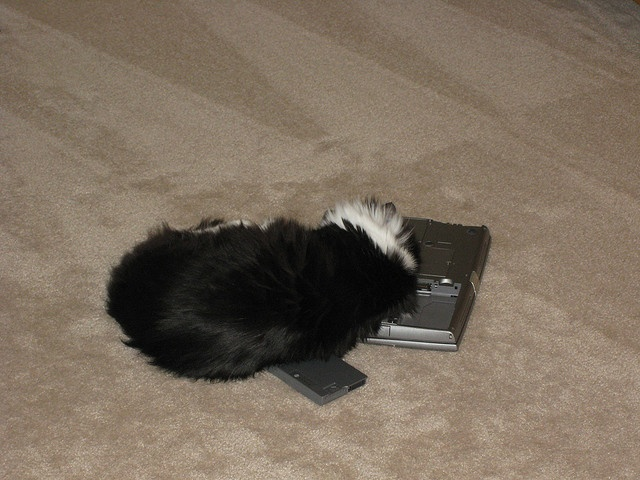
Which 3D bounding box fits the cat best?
[{"bbox_3d":[-0.083,0.057,1.207,0.375,0.533,0.193,7,105,27],"label":"cat"}]
